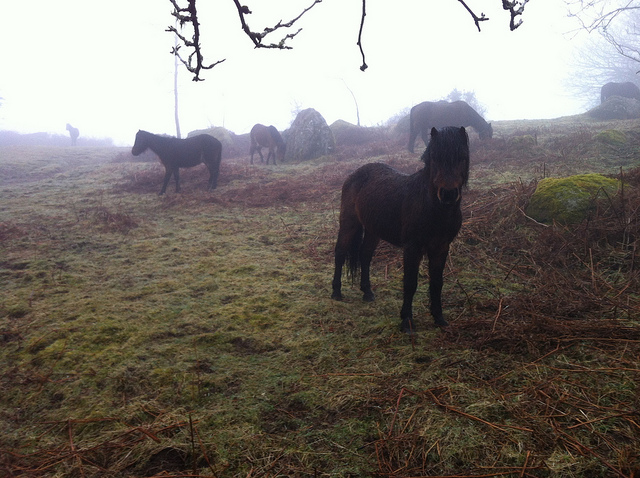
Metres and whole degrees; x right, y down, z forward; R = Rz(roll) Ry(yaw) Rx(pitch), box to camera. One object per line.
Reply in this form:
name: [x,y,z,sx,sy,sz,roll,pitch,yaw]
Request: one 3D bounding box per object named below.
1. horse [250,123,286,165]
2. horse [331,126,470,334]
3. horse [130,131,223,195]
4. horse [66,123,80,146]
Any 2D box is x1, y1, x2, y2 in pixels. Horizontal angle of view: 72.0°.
horse: [-2.485,-4.459,20.733,1.245,1.818,2.459,-8,15,-33]
horse: [1.144,-0.146,6.122,0.919,2.576,3.117,-6,10,-24]
horse: [-4.955,-2.727,15.256,3.000,1.930,3.798,-3,13,-10]
horse: [-19.239,-8.026,34.255,0.689,1.606,2.978,-7,14,-29]
